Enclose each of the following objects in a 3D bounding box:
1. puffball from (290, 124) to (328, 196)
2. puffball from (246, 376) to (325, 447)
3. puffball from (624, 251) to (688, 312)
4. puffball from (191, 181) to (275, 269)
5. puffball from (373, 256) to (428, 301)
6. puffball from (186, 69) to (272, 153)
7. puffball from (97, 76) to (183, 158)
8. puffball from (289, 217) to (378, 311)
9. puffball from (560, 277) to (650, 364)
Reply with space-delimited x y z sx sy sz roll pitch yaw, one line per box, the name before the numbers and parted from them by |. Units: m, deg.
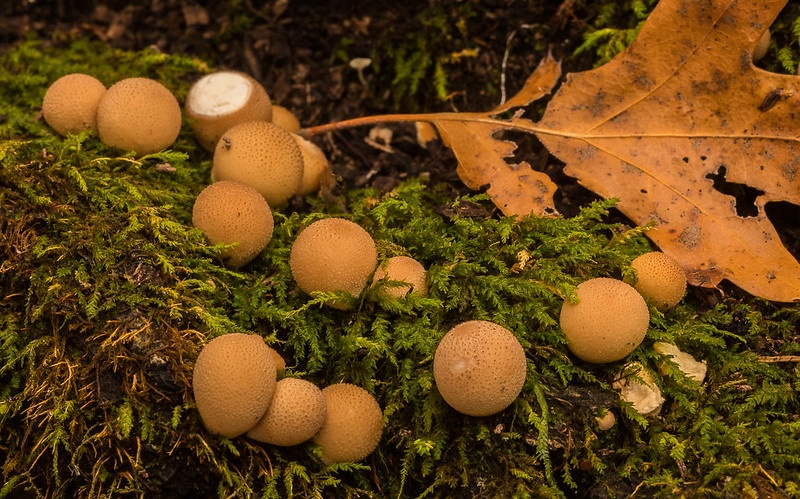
puffball | -0.601 -0.560 4.545 0.308 0.320 0.316 4 24 -14
puffball | -0.545 0.844 3.813 0.384 0.298 0.284 -16 59 4
puffball | 1.418 0.186 4.198 0.305 0.276 0.319 -4 74 -28
puffball | -0.906 -0.163 4.171 0.425 0.420 0.249 10 42 5
puffball | 0.019 0.161 4.093 0.286 0.119 0.270 31 47 8
puffball | -1.086 -0.829 4.535 0.464 0.335 0.442 -12 44 -11
puffball | -1.517 -0.764 4.400 0.459 0.453 0.445 -1 45 1
puffball | -0.359 0.056 4.007 0.463 0.306 0.362 12 47 -9
puffball | 1.080 0.380 3.978 0.449 0.417 0.431 5 45 8
